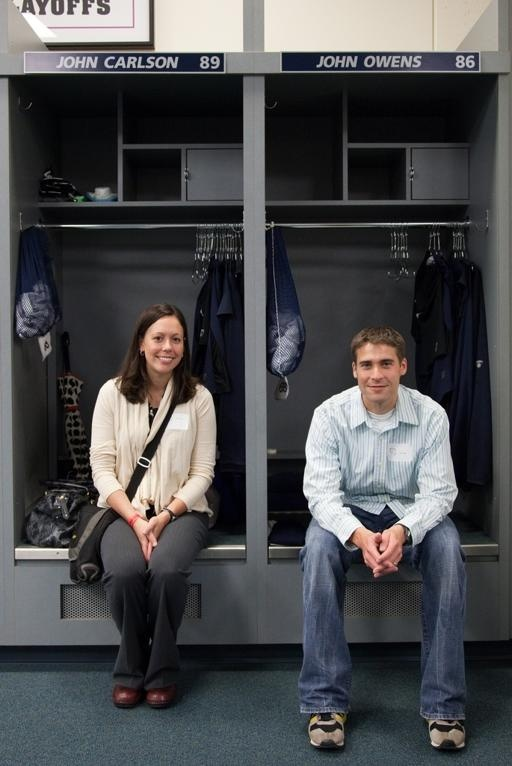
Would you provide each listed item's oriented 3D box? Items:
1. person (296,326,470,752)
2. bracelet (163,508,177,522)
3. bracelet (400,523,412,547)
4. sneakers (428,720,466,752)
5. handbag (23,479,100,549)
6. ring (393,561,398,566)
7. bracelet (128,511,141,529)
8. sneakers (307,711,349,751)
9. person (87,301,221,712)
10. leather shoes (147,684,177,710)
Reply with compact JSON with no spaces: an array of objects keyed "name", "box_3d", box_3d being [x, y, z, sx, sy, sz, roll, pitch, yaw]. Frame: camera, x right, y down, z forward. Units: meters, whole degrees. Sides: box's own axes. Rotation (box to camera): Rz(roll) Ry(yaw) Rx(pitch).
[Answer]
[{"name":"person","box_3d":[0.396,0.440,2.176,0.514,1.325,0.502,0,0,5]},{"name":"bracelet","box_3d":[-0.303,0.465,2.408,0.028,0.049,0.045,-19,12,-29]},{"name":"bracelet","box_3d":[0.467,0.472,2.100,0.033,0.066,0.060,0,0,16]},{"name":"sneakers","box_3d":[0.558,1.014,1.957,0.050,0.066,0.133,0,-15,2]},{"name":"handbag","box_3d":[-0.777,0.520,2.725,0.213,0.254,0.092,-6,-37,19]},{"name":"ring","box_3d":[0.421,0.547,2.053,0.003,0.016,0.014,5,6,33]},{"name":"bracelet","box_3d":[-0.418,0.474,2.342,0.018,0.048,0.042,20,45,7]},{"name":"sneakers","box_3d":[0.213,1.016,2.035,0.113,0.100,0.189,0,0,8]},{"name":"person","box_3d":[-0.340,0.382,2.383,0.462,1.366,0.458,0,0,-15]},{"name":"leather shoes","box_3d":[-0.311,1.017,2.223,0.102,0.071,0.094,0,0,-11]}]
